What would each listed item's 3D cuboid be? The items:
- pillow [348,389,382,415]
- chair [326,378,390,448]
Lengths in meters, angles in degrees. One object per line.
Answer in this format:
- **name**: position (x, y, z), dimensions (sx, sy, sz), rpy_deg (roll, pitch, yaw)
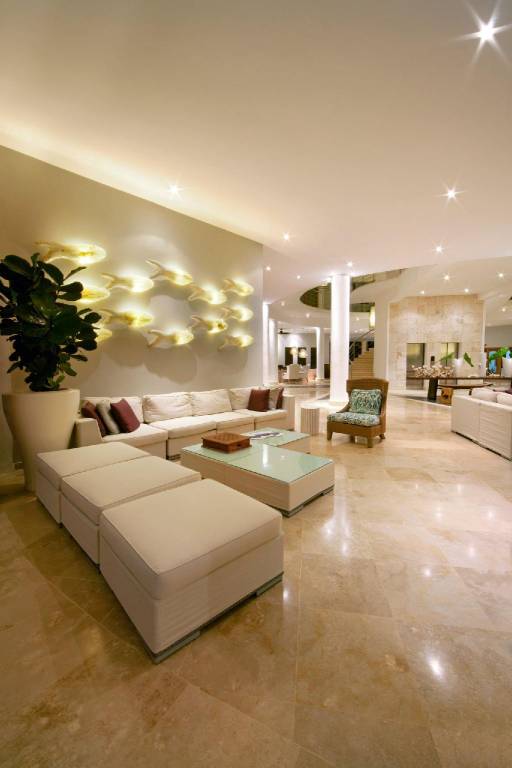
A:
- **pillow**: position (1.329, 0.223, 5.323), dimensions (0.276, 0.246, 0.109), rpy_deg (2, 5, 37)
- **chair**: position (1.268, 0.309, 5.252), dimensions (0.570, 0.811, 0.663), rpy_deg (4, 1, 43)
